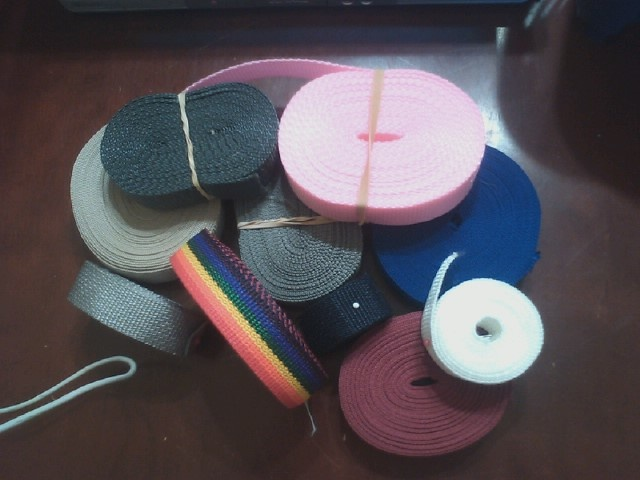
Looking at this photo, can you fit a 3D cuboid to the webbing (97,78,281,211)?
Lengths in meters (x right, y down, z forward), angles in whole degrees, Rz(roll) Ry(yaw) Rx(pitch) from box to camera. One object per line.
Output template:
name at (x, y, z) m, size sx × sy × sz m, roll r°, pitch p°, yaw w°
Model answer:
webbing at (-0.284, -0.217, 1.456) m, size 0.334 × 0.122 × 0.265 m, roll -2°, pitch 70°, yaw -4°

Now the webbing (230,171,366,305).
webbing at (-0.050, -0.049, 1.536) m, size 0.105 × 0.438 × 0.289 m, roll -16°, pitch 24°, yaw -31°

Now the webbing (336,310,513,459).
webbing at (0.260, 0.353, 1.592) m, size 0.339 × 0.404 × 0.096 m, roll -29°, pitch 85°, yaw -47°

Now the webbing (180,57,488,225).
webbing at (0.091, -0.244, 1.384) m, size 0.466 × 0.102 × 0.292 m, roll 3°, pitch 70°, yaw 5°

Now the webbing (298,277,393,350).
webbing at (0.049, 0.181, 1.465) m, size 0.219 × 0.064 × 0.128 m, roll -26°, pitch 59°, yaw -22°

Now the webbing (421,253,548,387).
webbing at (0.352, 0.144, 1.415) m, size 0.244 × 0.328 × 0.081 m, roll 6°, pitch 32°, yaw 13°
